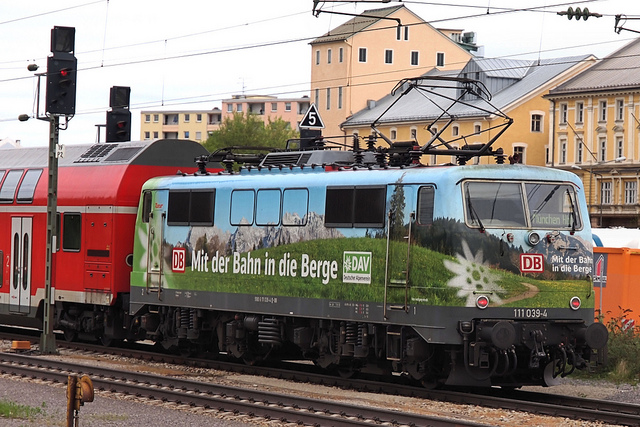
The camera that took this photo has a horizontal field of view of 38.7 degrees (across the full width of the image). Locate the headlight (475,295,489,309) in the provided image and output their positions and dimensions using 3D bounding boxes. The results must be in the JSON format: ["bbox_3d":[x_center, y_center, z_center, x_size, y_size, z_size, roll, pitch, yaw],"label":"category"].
[{"bbox_3d":[3.399,1.839,18.935,0.259,0.253,0.061,4,-3,-9],"label":"headlight"}]

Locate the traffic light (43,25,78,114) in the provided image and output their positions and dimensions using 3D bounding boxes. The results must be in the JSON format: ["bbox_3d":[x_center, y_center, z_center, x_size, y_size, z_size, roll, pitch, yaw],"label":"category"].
[{"bbox_3d":[-7.119,-3.943,25.231,0.874,2.418,0.642,3,3,4],"label":"traffic light"}]

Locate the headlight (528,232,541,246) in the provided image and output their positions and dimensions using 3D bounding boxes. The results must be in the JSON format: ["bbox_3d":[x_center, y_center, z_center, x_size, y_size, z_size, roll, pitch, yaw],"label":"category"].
[{"bbox_3d":[4.566,0.527,19.338,0.249,0.270,0.264,2,-9,-39],"label":"headlight"}]
